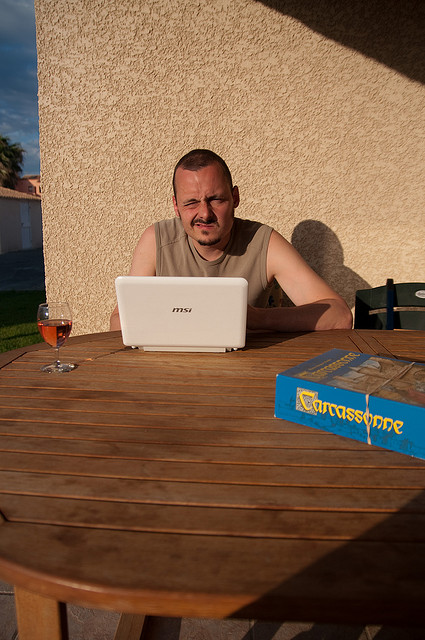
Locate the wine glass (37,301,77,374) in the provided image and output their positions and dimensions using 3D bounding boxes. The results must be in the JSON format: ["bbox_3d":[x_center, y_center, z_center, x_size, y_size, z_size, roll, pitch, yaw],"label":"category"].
[{"bbox_3d":[-0.378,0.041,1.216,0.083,0.158,0.079,10,16,39],"label":"wine glass"}]

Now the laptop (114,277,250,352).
[{"bbox_3d":[-0.069,-0.061,1.415,0.465,0.200,0.281,1,14,3],"label":"laptop"}]
